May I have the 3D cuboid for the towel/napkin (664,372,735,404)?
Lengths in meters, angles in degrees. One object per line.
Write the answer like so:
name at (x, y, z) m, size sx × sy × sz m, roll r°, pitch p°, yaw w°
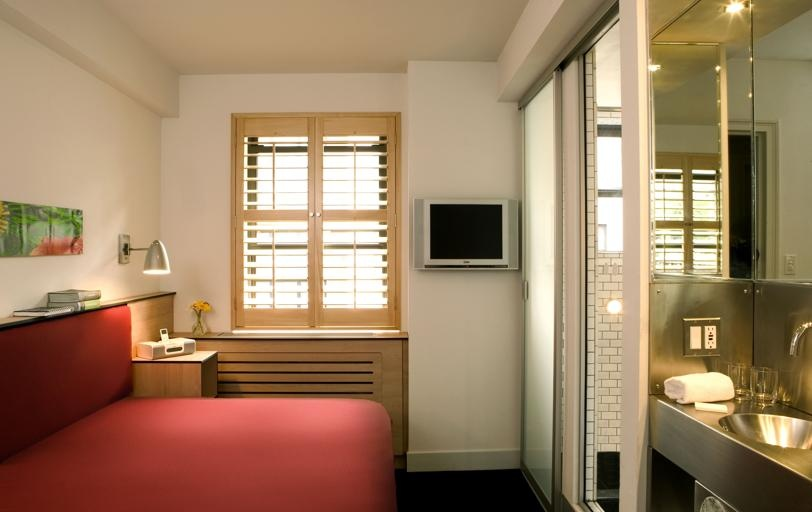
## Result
towel/napkin at (1.516, 0.658, 3.104) m, size 0.240 × 0.090 × 0.173 m, roll -1°, pitch -1°, yaw -11°

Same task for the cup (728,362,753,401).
cup at (1.744, 0.649, 3.138) m, size 0.148 × 0.240 × 0.158 m, roll 0°, pitch -1°, yaw 0°

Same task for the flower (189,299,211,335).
flower at (-1.648, 0.484, 4.829) m, size 0.226 × 0.316 × 0.236 m, roll -1°, pitch -1°, yaw -11°

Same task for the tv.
tv at (0.454, -0.172, 4.562) m, size 0.768 × 0.467 × 0.062 m, roll -1°, pitch 0°, yaw 1°

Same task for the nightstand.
nightstand at (-1.662, 0.848, 4.405) m, size 0.372 × 0.240 × 0.384 m, roll 0°, pitch -1°, yaw -4°

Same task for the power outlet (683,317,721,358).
power outlet at (1.530, 0.416, 3.132) m, size 0.206 × 0.211 × 0.022 m, roll 1°, pitch -2°, yaw -7°
